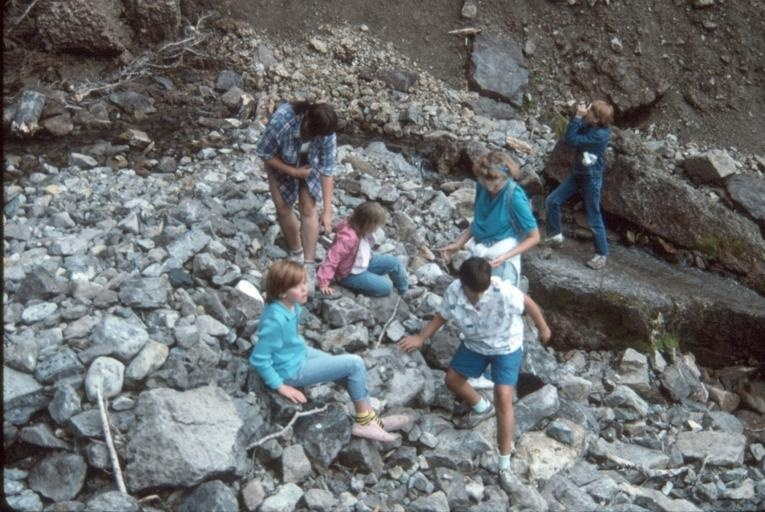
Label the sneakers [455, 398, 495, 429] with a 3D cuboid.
[{"bbox_3d":[1.084,1.820,7.204,0.408,0.182,0.151,-37,31,4],"label":"sneakers"}]

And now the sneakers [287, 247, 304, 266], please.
[{"bbox_3d":[-1.081,-0.002,7.751,0.199,0.346,0.229,-2,3,-1],"label":"sneakers"}]

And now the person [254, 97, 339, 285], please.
[{"bbox_3d":[-1.049,-0.827,7.509,0.953,2.015,0.431,8,13,-12],"label":"person"}]

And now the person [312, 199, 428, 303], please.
[{"bbox_3d":[-0.211,-0.131,7.800,1.334,1.228,1.009,-7,32,-19],"label":"person"}]

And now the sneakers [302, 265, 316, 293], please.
[{"bbox_3d":[-0.883,0.288,7.707,0.170,0.333,0.076,-1,-4,-34],"label":"sneakers"}]

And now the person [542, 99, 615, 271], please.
[{"bbox_3d":[2.880,-0.913,9.102,0.855,2.897,1.274,-9,32,-3],"label":"person"}]

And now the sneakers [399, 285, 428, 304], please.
[{"bbox_3d":[0.391,0.489,8.073,0.371,0.193,0.143,-20,45,0],"label":"sneakers"}]

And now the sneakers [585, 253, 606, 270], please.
[{"bbox_3d":[2.984,0.076,8.727,0.144,0.147,0.318,18,20,41],"label":"sneakers"}]
